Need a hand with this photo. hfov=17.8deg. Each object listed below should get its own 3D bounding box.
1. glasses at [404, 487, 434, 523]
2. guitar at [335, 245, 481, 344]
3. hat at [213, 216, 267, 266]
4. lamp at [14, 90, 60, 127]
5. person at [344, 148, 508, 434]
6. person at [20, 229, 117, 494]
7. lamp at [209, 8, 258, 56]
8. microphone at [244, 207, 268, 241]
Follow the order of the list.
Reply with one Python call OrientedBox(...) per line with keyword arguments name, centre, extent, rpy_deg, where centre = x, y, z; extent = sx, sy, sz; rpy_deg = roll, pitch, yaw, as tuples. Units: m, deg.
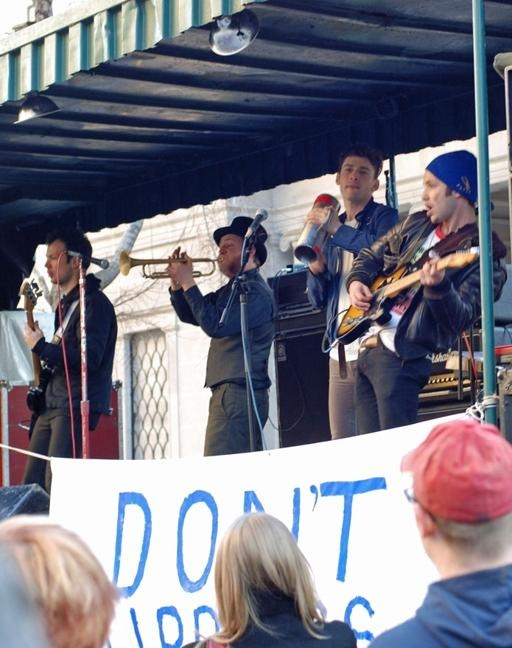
OrientedBox(name="glasses", centre=(0.397, 0.428, 3.821), extent=(0.028, 0.081, 0.046), rpy_deg=(-42, -6, 39))
OrientedBox(name="guitar", centre=(0.539, -0.088, 6.335), extent=(0.073, 0.264, 0.631), rpy_deg=(36, -28, -12))
OrientedBox(name="hat", centre=(-0.060, -0.402, 7.076), extent=(0.190, 0.090, 0.245), rpy_deg=(23, -19, 30))
OrientedBox(name="lamp", centre=(-0.917, -0.884, 6.638), extent=(0.122, 0.079, 0.128), rpy_deg=(-17, 9, 26))
OrientedBox(name="person", centre=(0.665, -0.133, 6.177), extent=(0.485, 1.038, 0.895), rpy_deg=(-3, -5, -14))
OrientedBox(name="person", centre=(-0.840, 0.130, 7.119), extent=(0.444, 1.186, 0.810), rpy_deg=(-4, -5, -6))
OrientedBox(name="lamp", centre=(-0.081, -1.065, 6.028), extent=(0.194, 0.134, 0.162), rpy_deg=(-5, -5, 0))
OrientedBox(name="microphone", centre=(0.011, -0.412, 6.457), extent=(0.045, 0.058, 0.185), rpy_deg=(8, 38, 13))
